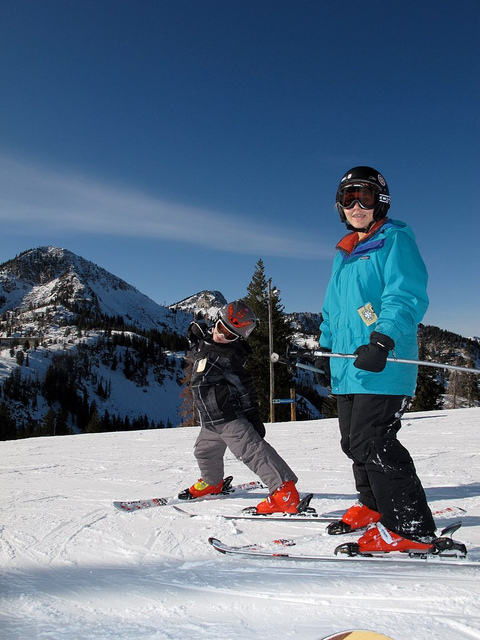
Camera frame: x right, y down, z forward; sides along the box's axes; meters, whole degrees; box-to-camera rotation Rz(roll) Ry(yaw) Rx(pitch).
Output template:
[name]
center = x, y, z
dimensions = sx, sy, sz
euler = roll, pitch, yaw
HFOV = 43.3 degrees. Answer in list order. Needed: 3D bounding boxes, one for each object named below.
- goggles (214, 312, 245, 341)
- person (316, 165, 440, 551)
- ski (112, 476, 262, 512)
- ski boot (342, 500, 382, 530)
[goggles]
center = -0.071, 0.039, 4.306
dimensions = 0.174, 0.105, 0.212
euler = 32, -4, -7
[person]
center = 0.698, 0.200, 3.272
dimensions = 0.644, 1.900, 0.865
euler = 2, -3, -10
[ski]
center = -0.349, 1.250, 4.455
dimensions = 1.226, 0.150, 0.299
euler = 6, -6, -36
[ski boot]
center = 0.641, 1.042, 3.209
dimensions = 0.267, 0.116, 0.097
euler = 3, -1, -4
